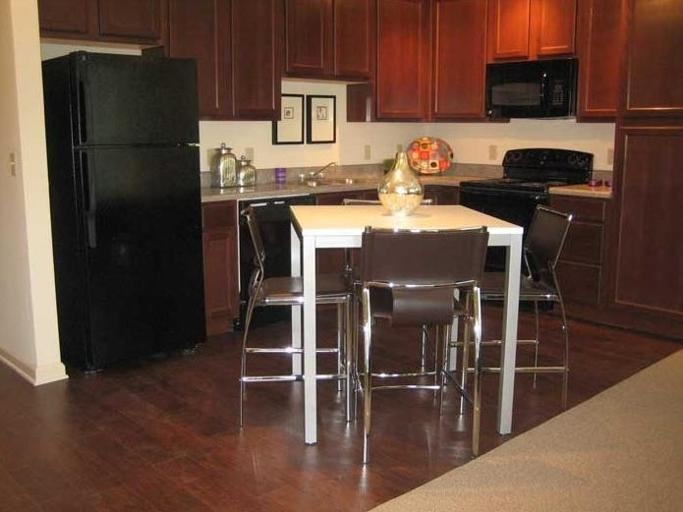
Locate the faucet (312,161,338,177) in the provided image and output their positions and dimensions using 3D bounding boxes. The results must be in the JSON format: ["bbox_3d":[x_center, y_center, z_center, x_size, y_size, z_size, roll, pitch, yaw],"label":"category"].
[{"bbox_3d":[-0.163,-0.773,5.474,0.100,0.107,0.249,-23,12,-41],"label":"faucet"}]

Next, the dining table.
[{"bbox_3d":[0.319,0.259,3.394,1.135,1.167,1.212,-2,18,-8],"label":"dining table"}]

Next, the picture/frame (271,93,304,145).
[{"bbox_3d":[-0.465,-1.158,5.091,0.391,0.474,0.063,-9,15,-42],"label":"picture/frame"}]

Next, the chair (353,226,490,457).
[{"bbox_3d":[0.348,0.373,2.941,0.694,1.039,0.737,3,8,19],"label":"chair"}]

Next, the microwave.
[{"bbox_3d":[1.539,-1.383,4.996,0.460,0.564,0.841,-13,19,-41],"label":"microwave"}]

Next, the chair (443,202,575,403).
[{"bbox_3d":[0.917,0.277,3.415,0.705,1.117,0.703,2,6,23],"label":"chair"}]

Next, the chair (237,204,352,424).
[{"bbox_3d":[-0.250,0.305,3.218,0.574,1.067,0.550,0,3,-4],"label":"chair"}]

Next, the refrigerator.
[{"bbox_3d":[-1.456,-0.281,3.934,1.090,1.819,1.138,0,11,-1],"label":"refrigerator"}]

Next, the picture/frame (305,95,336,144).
[{"bbox_3d":[-0.201,-1.230,5.408,0.389,0.547,0.055,-8,14,-38],"label":"picture/frame"}]

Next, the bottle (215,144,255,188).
[{"bbox_3d":[-0.858,-0.715,4.759,0.347,0.330,0.292,-9,16,-33],"label":"bottle"}]
